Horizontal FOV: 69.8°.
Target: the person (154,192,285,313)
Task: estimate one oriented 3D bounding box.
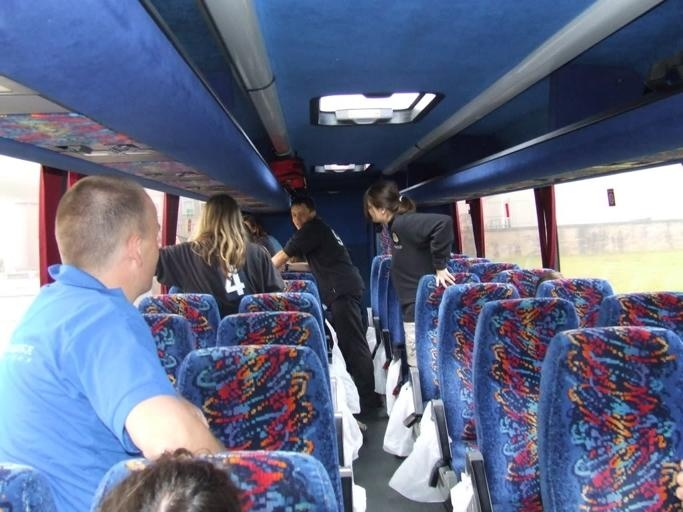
[{"bbox_3d":[-0.891,-0.037,3.434,0.954,1.144,0.315,-1,8,-2],"label":"person"}]
